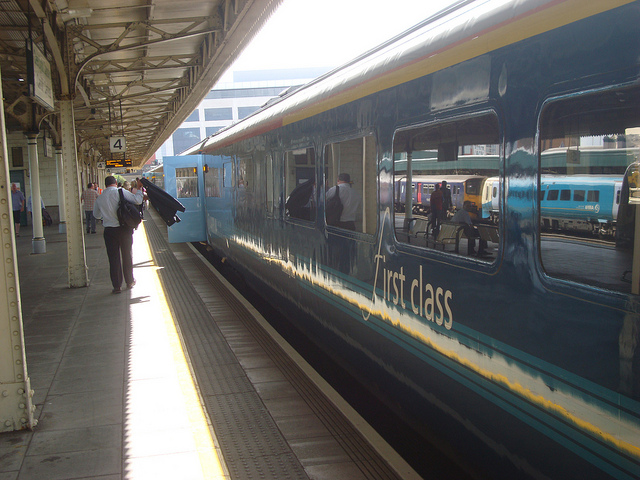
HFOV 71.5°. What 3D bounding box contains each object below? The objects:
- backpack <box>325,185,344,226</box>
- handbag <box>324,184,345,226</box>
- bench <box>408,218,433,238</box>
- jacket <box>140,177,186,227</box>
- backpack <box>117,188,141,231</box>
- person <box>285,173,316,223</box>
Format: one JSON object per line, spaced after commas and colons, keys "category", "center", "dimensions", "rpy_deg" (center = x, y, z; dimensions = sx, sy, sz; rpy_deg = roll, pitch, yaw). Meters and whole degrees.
{"category": "backpack", "center": [0.157, -0.342, 5.120], "dimensions": [0.190, 0.409, 0.360], "rpy_deg": [1, 2, -4]}
{"category": "handbag", "center": [0.159, -0.352, 5.130], "dimensions": [0.201, 0.419, 0.374], "rpy_deg": [1, 3, -14]}
{"category": "bench", "center": [0.820, -0.091, 3.652], "dimensions": [0.109, 0.191, 0.134], "rpy_deg": [4, 2, 4]}
{"category": "jacket", "center": [-4.304, -0.997, 12.131], "dimensions": [1.016, 1.349, 1.325], "rpy_deg": [5, 8, 42]}
{"category": "backpack", "center": [-3.764, -0.587, 8.805], "dimensions": [0.413, 0.860, 0.273], "rpy_deg": [-3, 5, -23]}
{"category": "person", "center": [-0.244, -0.579, 6.046], "dimensions": [0.464, 0.370, 1.112], "rpy_deg": [11, 19, -8]}
